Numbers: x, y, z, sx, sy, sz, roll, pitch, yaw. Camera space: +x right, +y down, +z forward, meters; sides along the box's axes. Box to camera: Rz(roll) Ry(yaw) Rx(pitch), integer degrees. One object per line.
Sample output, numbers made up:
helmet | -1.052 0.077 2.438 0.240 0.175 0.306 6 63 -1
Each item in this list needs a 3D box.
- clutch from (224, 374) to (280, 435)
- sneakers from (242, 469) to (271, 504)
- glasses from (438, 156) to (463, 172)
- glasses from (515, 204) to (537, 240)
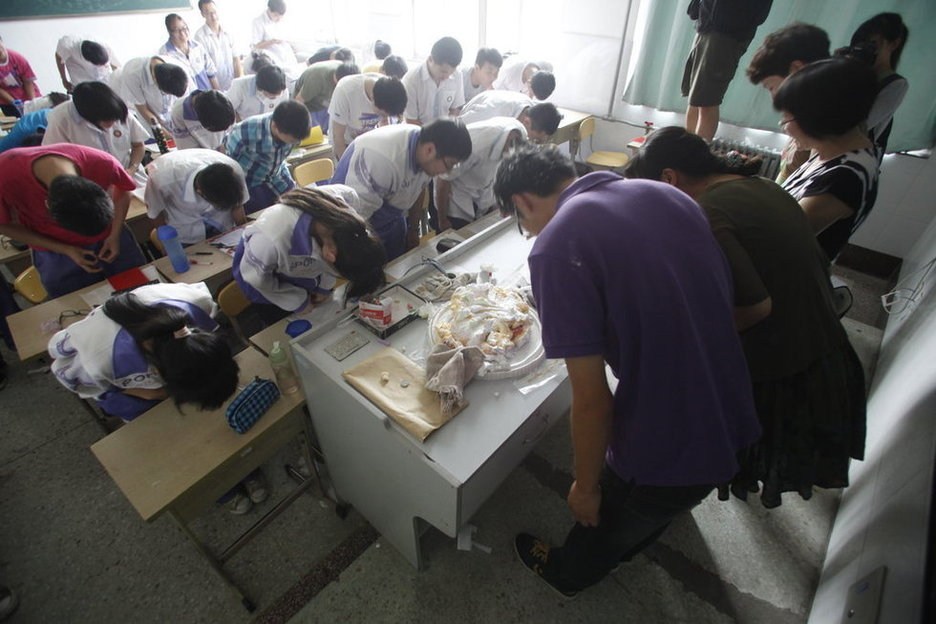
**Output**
clutch | -1.146 0.485 3.164 0.190 0.113 0.319 43 63 1
sneakers | -1.300 1.043 3.607 0.150 0.060 0.195 -17 47 -28
glasses | -0.133 -0.951 3.820 0.083 0.025 0.081 33 50 28
glasses | 0.258 -0.433 2.854 0.128 0.040 0.133 1 62 -59
